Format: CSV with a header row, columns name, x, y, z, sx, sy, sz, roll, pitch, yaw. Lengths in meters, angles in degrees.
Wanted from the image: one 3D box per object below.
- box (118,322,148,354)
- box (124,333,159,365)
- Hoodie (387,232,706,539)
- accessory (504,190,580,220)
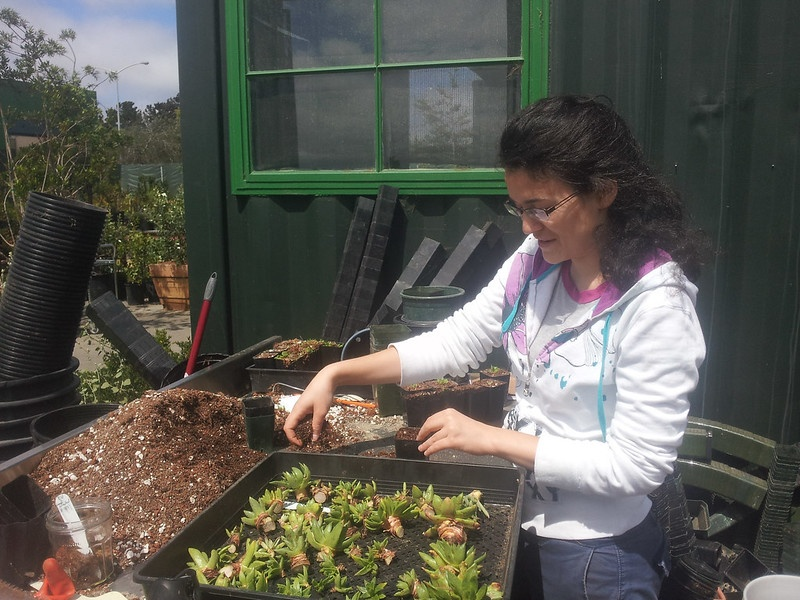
name,x,y,z,sx,sy,sz,roll,pitch,yaw
box,-1.583,0.223,4.168,0.068,0.130,0.122,-10,27,34
box,-1.535,0.288,4.187,0.067,0.132,0.130,-25,4,31
Hoodie,0.561,0.233,2.715,1.041,1.090,1.218,-5,21,-17
accessory,0.485,-0.342,2.585,0.138,0.102,0.321,-3,10,-25
